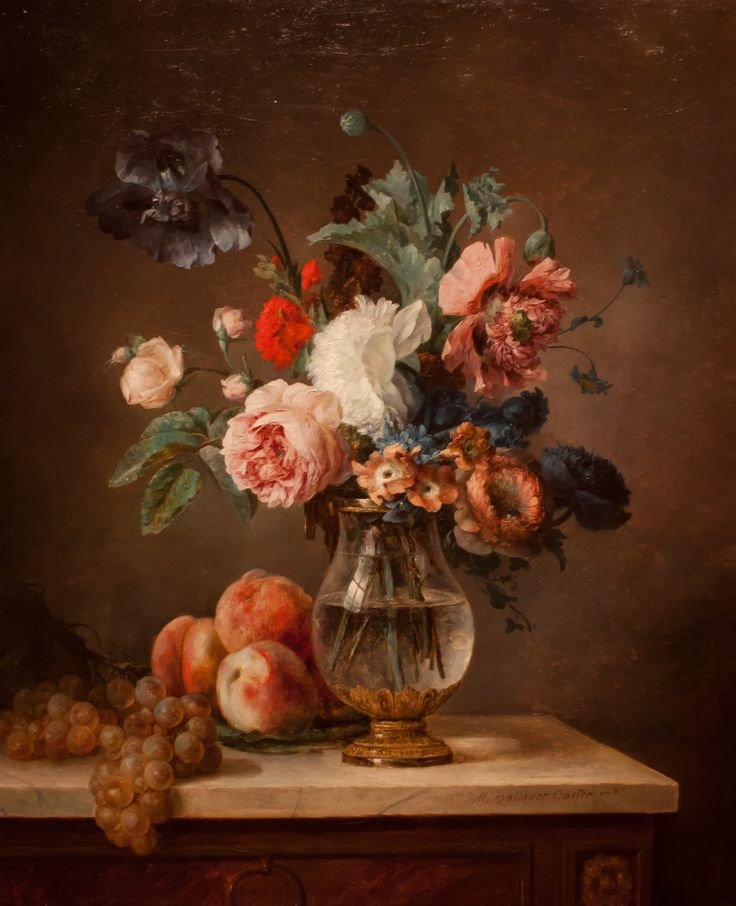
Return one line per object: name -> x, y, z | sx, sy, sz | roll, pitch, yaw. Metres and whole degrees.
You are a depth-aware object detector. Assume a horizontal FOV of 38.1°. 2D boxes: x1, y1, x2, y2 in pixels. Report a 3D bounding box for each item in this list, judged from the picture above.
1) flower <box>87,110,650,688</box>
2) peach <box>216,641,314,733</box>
flower -> -0.027, -0.130, 1.380 | 0.654, 0.529, 0.391 | 10, 33, 1
peach -> -0.129, 0.295, 1.403 | 0.169, 0.099, 0.143 | 1, 2, -15
